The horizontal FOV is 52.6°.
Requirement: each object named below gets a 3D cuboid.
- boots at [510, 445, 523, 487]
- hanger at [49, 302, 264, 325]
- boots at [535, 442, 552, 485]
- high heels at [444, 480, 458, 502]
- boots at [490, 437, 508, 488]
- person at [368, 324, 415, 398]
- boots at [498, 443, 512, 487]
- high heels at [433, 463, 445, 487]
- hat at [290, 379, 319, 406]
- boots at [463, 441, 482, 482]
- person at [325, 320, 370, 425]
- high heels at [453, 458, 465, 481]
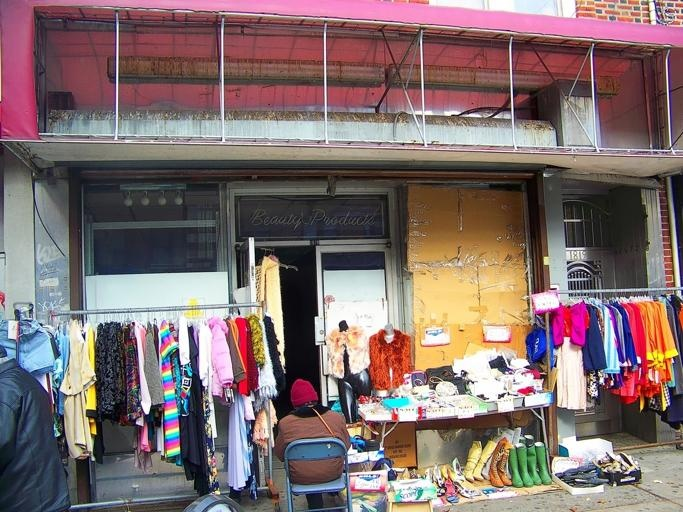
[{"bbox_3d":[1.980,2.405,7.849,0.138,0.437,0.140,-5,-4,15],"label":"boots"},{"bbox_3d":[-2.043,0.627,7.454,1.276,0.079,0.160,-6,26,-11],"label":"hanger"},{"bbox_3d":[2.313,2.428,7.911,0.155,0.429,0.434,-7,2,6],"label":"boots"},{"bbox_3d":[1.224,2.621,7.659,0.141,0.100,0.355,-5,-3,6],"label":"high heels"},{"bbox_3d":[1.846,2.415,7.963,0.211,0.515,0.682,8,0,16],"label":"boots"},{"bbox_3d":[0.584,1.305,8.252,0.465,1.064,0.222,-3,20,-3],"label":"person"},{"bbox_3d":[1.801,2.406,7.916,0.132,0.456,0.297,1,-26,-8],"label":"boots"},{"bbox_3d":[1.124,2.502,7.878,0.069,0.212,0.075,12,-30,-24],"label":"high heels"},{"bbox_3d":[-0.380,1.378,6.978,0.234,0.242,0.257,-14,-15,-6],"label":"hat"},{"bbox_3d":[1.529,2.387,8.044,0.227,0.409,0.213,-5,-3,10],"label":"boots"},{"bbox_3d":[0.105,1.453,8.309,0.466,1.436,0.397,-6,8,3],"label":"person"},{"bbox_3d":[1.356,2.497,8.028,0.075,0.229,0.086,12,-46,-33],"label":"high heels"}]
